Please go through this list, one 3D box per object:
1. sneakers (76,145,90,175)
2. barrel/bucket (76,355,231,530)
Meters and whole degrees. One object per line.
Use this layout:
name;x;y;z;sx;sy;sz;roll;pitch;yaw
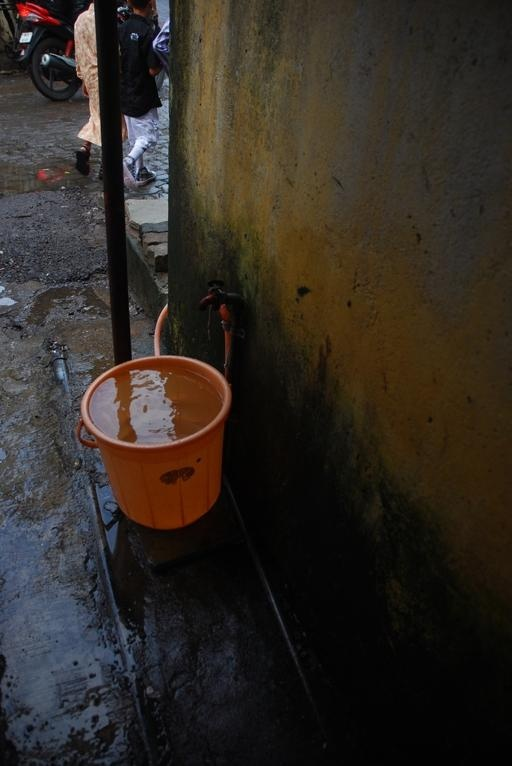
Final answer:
sneakers;-1.875;-2.428;6.705;0.124;0.357;0.141;2;43;-8
barrel/bucket;-0.446;0.294;2.696;0.609;0.557;0.619;0;33;0
